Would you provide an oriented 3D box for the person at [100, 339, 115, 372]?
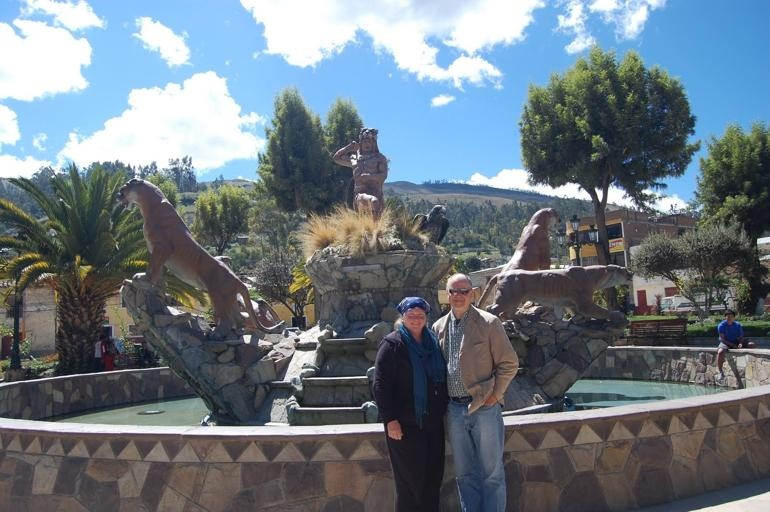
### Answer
[{"bbox_3d":[-9.230,3.262,18.737,0.357,1.010,1.173,1,-6,-27],"label":"person"}]

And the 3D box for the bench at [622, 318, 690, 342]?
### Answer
[{"bbox_3d":[9.683,2.723,20.130,1.853,0.816,2.616,-4,-6,23],"label":"bench"}]

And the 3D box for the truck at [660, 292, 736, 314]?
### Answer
[{"bbox_3d":[19.617,2.956,34.968,3.188,1.155,2.066,-4,-4,14],"label":"truck"}]
